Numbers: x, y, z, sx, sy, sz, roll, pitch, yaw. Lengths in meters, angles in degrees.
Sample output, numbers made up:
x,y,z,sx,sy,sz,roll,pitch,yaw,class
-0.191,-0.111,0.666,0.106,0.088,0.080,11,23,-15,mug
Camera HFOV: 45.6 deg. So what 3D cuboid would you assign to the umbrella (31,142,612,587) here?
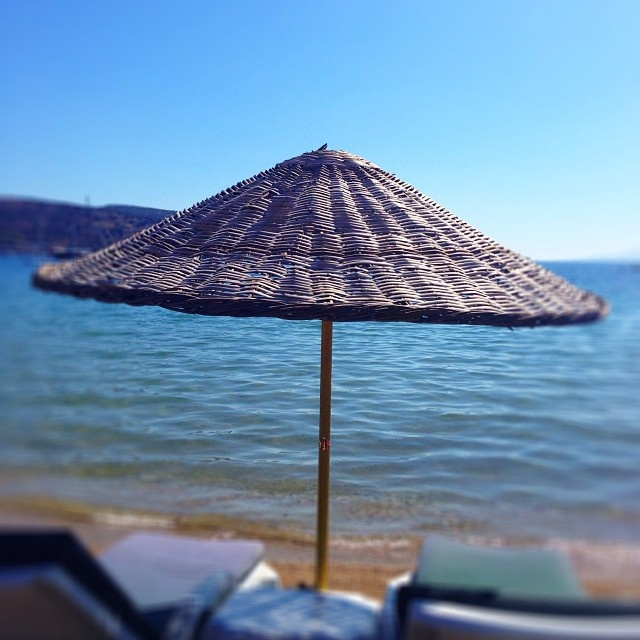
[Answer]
x,y,z,sx,sy,sz,roll,pitch,yaw,class
0.039,0.098,4.670,3.328,1.585,2.323,1,-3,0,umbrella
